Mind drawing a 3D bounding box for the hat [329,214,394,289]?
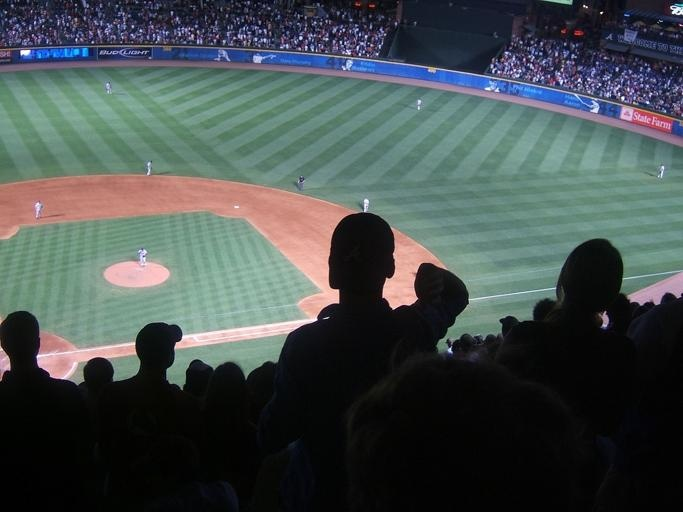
[{"bbox_3d":[0.132,-0.007,3.869,0.428,0.546,0.333,8,23,1],"label":"hat"}]

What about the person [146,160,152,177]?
[{"bbox_3d":[-11.663,-5.262,36.635,0.385,0.398,1.107,-23,-11,-17],"label":"person"}]
